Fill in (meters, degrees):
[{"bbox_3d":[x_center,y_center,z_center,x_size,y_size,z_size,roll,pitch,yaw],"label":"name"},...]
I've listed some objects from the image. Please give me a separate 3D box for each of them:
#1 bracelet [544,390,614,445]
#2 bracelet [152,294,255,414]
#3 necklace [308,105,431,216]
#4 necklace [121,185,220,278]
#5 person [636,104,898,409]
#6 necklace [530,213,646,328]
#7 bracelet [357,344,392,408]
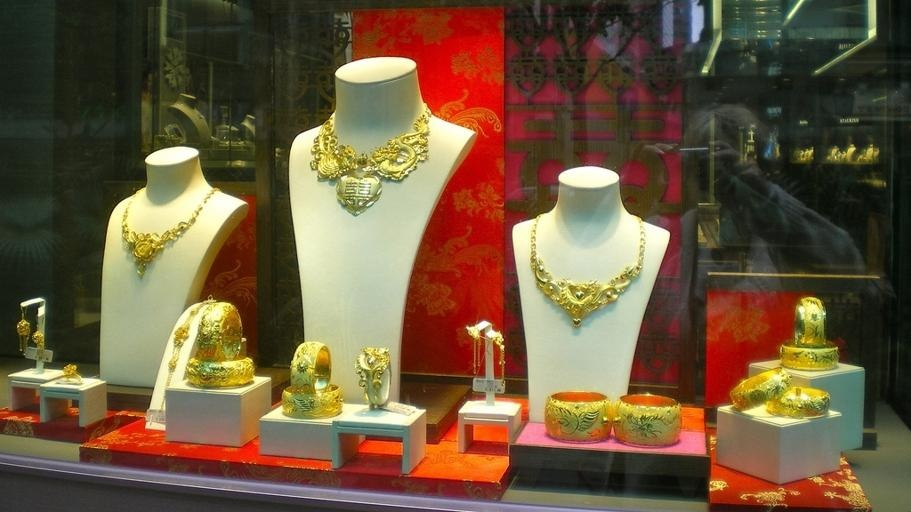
[{"bbox_3d":[0.556,0.725,3.778,0.245,0.132,0.234,0,3,23],"label":"bracelet"},{"bbox_3d":[-1.225,0.477,4.070,0.496,0.574,0.218,-1,-4,16],"label":"bracelet"},{"bbox_3d":[-0.436,-0.475,4.240,0.680,0.255,0.661,-3,22,7],"label":"necklace"},{"bbox_3d":[-1.514,-0.135,4.385,0.609,0.173,0.411,7,49,32],"label":"necklace"},{"bbox_3d":[1.467,-0.032,3.826,1.113,1.383,0.331,-1,8,16],"label":"person"},{"bbox_3d":[0.637,0.090,3.943,0.584,0.616,0.139,4,-9,8],"label":"necklace"},{"bbox_3d":[-0.380,0.566,3.812,0.153,0.266,0.087,2,9,-6],"label":"bracelet"}]
